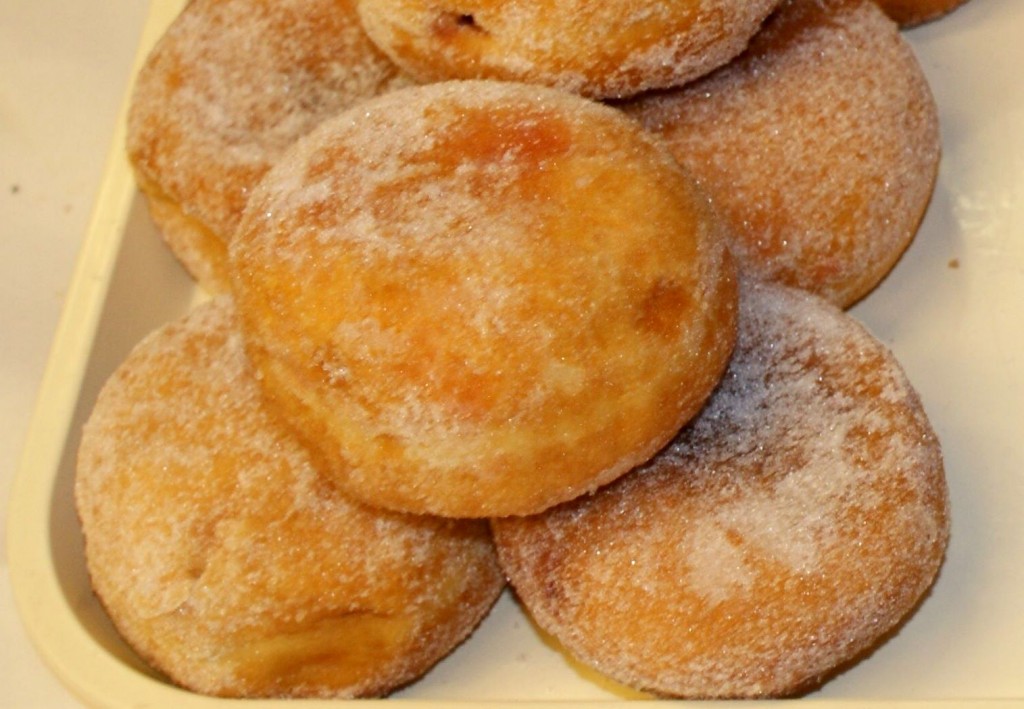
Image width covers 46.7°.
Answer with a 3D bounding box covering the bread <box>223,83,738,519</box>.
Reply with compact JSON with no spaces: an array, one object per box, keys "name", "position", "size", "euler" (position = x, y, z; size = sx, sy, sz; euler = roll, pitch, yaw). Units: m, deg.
[{"name":"bread","position":[-0.055,-0.034,1.139],"size":[0.440,0.427,0.235],"euler":[3,43,-13]}]
